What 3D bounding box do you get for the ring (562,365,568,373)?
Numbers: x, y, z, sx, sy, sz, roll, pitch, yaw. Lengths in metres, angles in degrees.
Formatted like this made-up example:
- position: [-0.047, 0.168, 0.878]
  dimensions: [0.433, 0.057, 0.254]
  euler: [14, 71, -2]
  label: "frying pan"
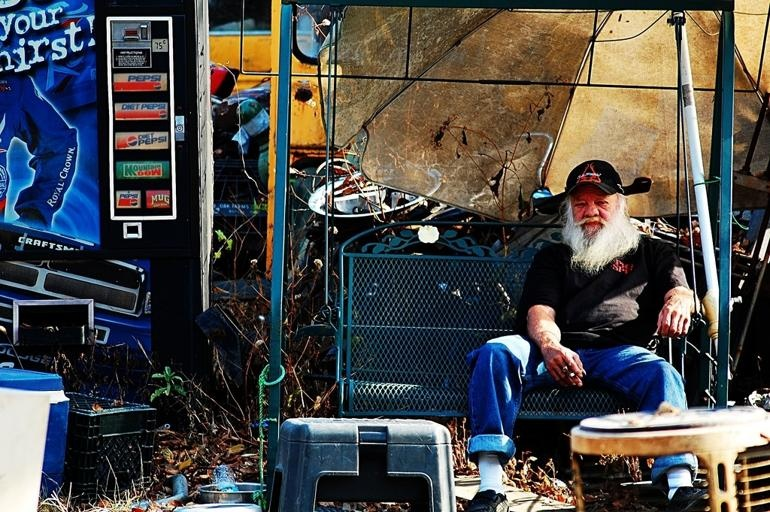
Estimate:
- position: [1.143, 0.721, 6.744]
  dimensions: [0.040, 0.039, 0.009]
  euler: [0, -6, -17]
  label: "ring"
